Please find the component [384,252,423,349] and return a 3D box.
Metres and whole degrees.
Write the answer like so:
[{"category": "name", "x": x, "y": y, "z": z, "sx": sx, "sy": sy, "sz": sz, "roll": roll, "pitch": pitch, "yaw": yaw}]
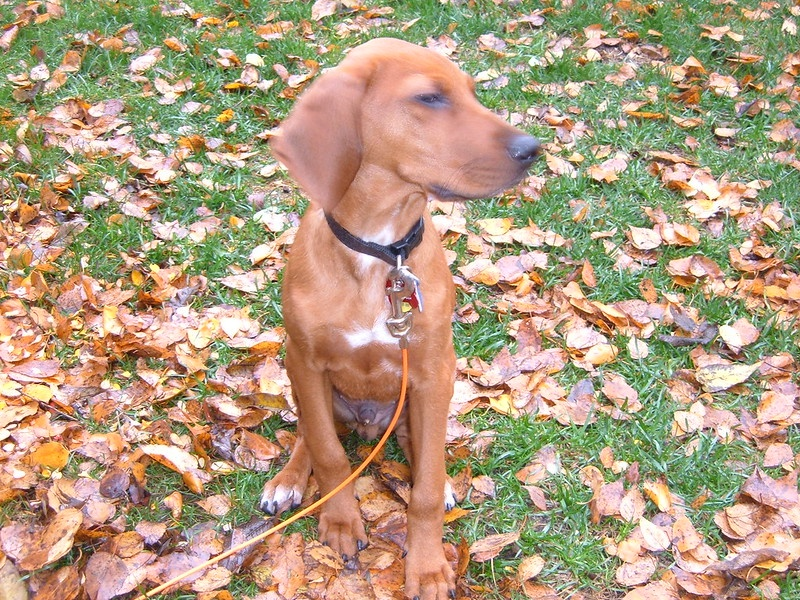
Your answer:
[{"category": "component", "x": 0.017, "y": 0.013, "z": 3.600, "sx": 0.153, "sy": 0.341, "sz": 0.273, "roll": -1, "pitch": 45, "yaw": 1}]
